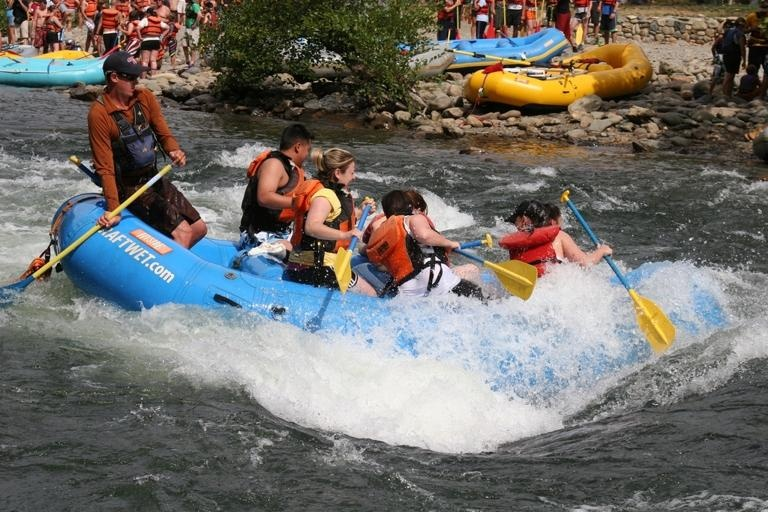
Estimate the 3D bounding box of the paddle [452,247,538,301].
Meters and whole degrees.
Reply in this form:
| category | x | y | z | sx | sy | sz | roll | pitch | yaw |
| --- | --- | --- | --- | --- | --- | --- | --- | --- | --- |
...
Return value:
| category | x | y | z | sx | sy | sz | roll | pitch | yaw |
| --- | --- | --- | --- | --- | --- | --- | --- | --- | --- |
| paddle | 1.145 | 0.102 | 9.083 | 1.026 | 0.137 | 0.352 | 34 | -3 | 37 |

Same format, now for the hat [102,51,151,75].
| category | x | y | z | sx | sy | sz | roll | pitch | yaw |
| --- | --- | --- | --- | --- | --- | --- | --- | --- | --- |
| hat | -2.802 | -2.146 | 9.066 | 0.421 | 0.179 | 0.242 | -1 | 21 | -22 |

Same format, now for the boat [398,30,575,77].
| category | x | y | z | sx | sy | sz | roll | pitch | yaw |
| --- | --- | --- | --- | --- | --- | --- | --- | --- | --- |
| boat | 3.083 | -6.069 | 23.830 | 4.837 | 0.705 | 2.150 | -8 | -1 | -10 |

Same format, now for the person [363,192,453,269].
| category | x | y | z | sx | sy | sz | roll | pitch | yaw |
| --- | --- | --- | --- | --- | --- | --- | --- | --- | --- |
| person | 0.257 | -0.268 | 9.414 | 1.304 | 0.738 | 0.734 | 0 | 17 | 38 |

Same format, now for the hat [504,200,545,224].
| category | x | y | z | sx | sy | sz | roll | pitch | yaw |
| --- | --- | --- | --- | --- | --- | --- | --- | --- | --- |
| hat | 1.606 | -0.492 | 9.373 | 0.375 | 0.149 | 0.267 | -17 | -8 | 26 |

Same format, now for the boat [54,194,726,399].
| category | x | y | z | sx | sy | sz | roll | pitch | yaw |
| --- | --- | --- | --- | --- | --- | --- | --- | --- | --- |
| boat | -0.303 | 0.558 | 9.096 | 5.942 | 0.973 | 2.758 | 8 | 8 | 0 |

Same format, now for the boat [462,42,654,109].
| category | x | y | z | sx | sy | sz | roll | pitch | yaw |
| --- | --- | --- | --- | --- | --- | --- | --- | --- | --- |
| boat | 4.634 | -4.378 | 20.372 | 4.460 | 0.903 | 2.293 | -10 | 14 | -26 |

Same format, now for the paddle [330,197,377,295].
| category | x | y | z | sx | sy | sz | roll | pitch | yaw |
| --- | --- | --- | --- | --- | --- | --- | --- | --- | --- |
| paddle | -0.349 | -0.081 | 9.063 | 0.115 | 0.357 | 1.444 | -39 | 13 | 32 |

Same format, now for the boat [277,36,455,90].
| category | x | y | z | sx | sy | sz | roll | pitch | yaw |
| --- | --- | --- | --- | --- | --- | --- | --- | --- | --- |
| boat | -0.913 | -5.065 | 21.250 | 5.373 | 1.054 | 1.342 | 2 | 34 | 2 |
